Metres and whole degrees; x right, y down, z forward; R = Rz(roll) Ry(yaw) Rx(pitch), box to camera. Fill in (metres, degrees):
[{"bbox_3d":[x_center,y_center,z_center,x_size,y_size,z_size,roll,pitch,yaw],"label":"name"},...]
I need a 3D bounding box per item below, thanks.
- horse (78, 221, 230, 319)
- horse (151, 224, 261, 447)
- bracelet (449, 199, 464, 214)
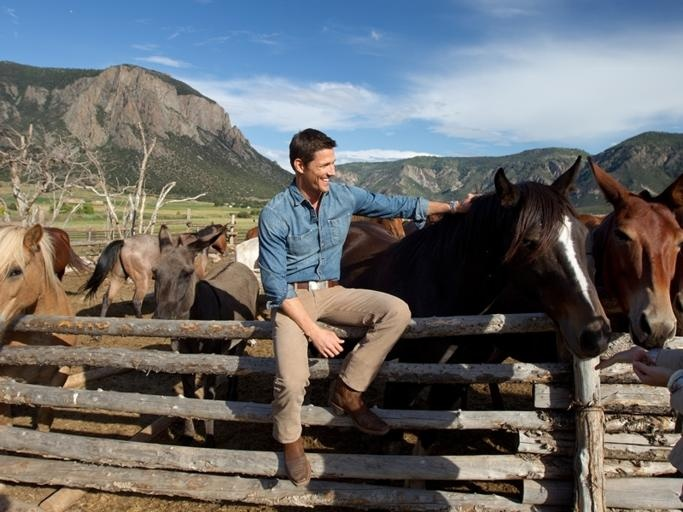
[{"bbox_3d":[-3.801,0.300,12.449,0.980,1.963,4.014,3,4,31],"label":"horse"},{"bbox_3d":[-1.969,1.007,8.463,1.101,2.648,3.345,2,1,6],"label":"horse"},{"bbox_3d":[1.149,-0.496,5.728,0.052,0.119,0.129,20,-15,-41],"label":"bracelet"}]
